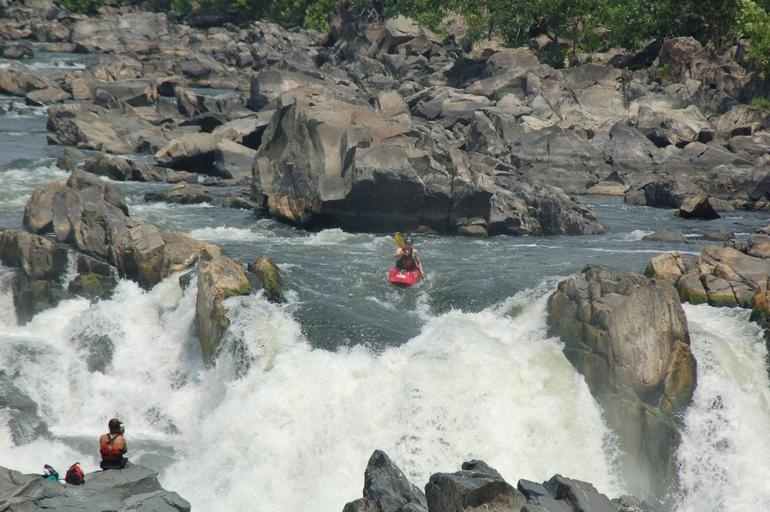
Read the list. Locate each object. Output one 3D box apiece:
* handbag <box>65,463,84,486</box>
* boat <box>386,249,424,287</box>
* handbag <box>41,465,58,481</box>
[{"bbox_3d":[-16.437,11.574,62.907,0.997,1.118,1.076,2,-13,-11],"label":"handbag"},{"bbox_3d":[1.250,0.752,71.586,2.111,1.938,1.389,2,32,-10],"label":"boat"},{"bbox_3d":[-17.559,11.463,62.735,0.953,0.475,0.586,35,17,12],"label":"handbag"}]
